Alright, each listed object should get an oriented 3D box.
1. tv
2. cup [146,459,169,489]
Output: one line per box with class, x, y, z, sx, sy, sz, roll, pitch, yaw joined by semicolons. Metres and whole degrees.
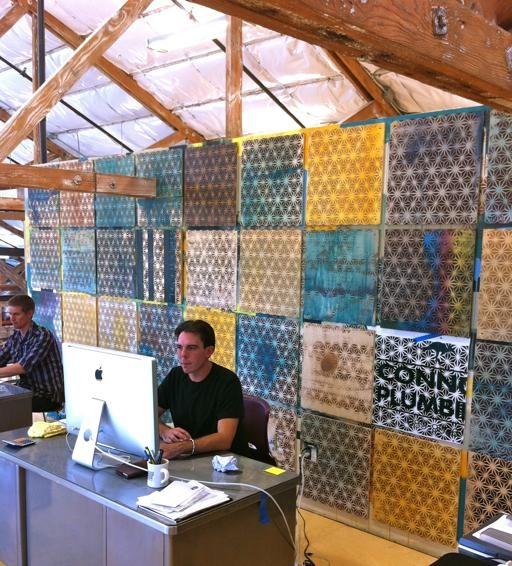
tv;-0.775;0.607;2.448;0.662;0.547;0.213;2;4;33
cup;-0.444;0.870;2.288;0.081;0.088;0.124;0;3;-23
